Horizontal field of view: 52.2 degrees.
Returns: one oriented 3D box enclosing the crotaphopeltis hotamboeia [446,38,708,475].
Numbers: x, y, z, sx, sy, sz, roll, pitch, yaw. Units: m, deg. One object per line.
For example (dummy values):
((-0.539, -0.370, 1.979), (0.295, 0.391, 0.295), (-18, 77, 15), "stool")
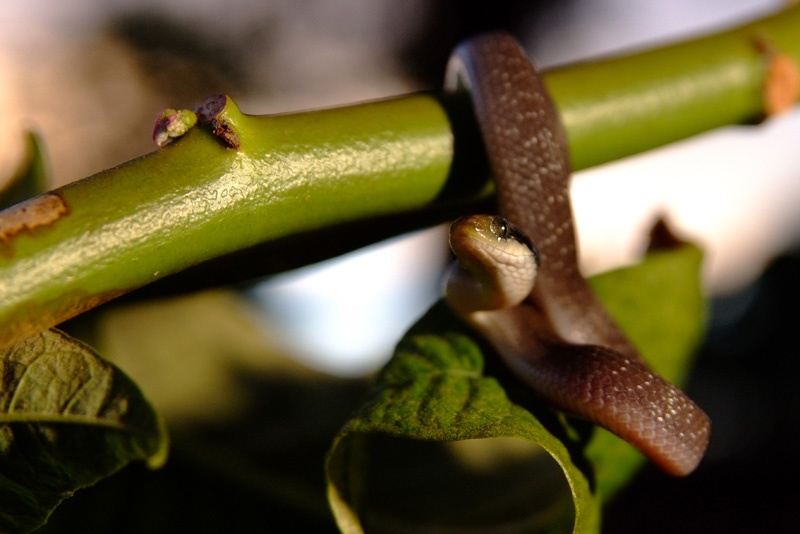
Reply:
((0.116, -0.001, 0.791), (0.236, 0.117, 0.357), (-39, 93, -6), "crotaphopeltis hotamboeia")
